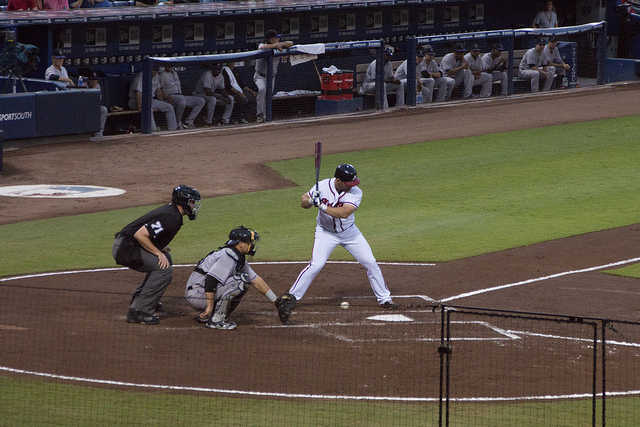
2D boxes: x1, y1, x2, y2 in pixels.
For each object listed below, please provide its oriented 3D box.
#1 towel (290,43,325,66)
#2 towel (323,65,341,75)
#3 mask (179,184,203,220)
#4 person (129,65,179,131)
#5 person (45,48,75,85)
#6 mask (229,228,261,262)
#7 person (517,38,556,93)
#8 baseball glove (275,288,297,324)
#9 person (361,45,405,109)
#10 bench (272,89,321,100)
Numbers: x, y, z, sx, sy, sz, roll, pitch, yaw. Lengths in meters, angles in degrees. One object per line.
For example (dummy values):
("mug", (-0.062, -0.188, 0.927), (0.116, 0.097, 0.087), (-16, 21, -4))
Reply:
("towel", (-0.348, -4.198, 29.498), (0.779, 0.172, 0.719), (-4, -8, -34))
("towel", (0.276, -3.877, 30.221), (0.336, 0.114, 0.329), (-2, 5, -44))
("mask", (-2.056, -0.163, 17.515), (0.308, 0.536, 0.284), (-2, 6, -4))
("person", (-4.182, -2.868, 27.945), (1.199, 1.585, 0.722), (-2, 7, -6))
("person", (-6.354, -3.535, 27.109), (0.640, 0.835, 0.939), (-3, 6, -13))
("mask", (-1.198, 0.447, 17.523), (0.444, 0.470, 0.469), (-2, 6, -3))
("person", (6.452, -4.427, 33.469), (0.971, 1.599, 0.801), (-7, 8, -40))
("baseball glove", (-0.556, 1.487, 17.433), (0.312, 0.464, 0.300), (-1, 6, 5))
("person", (1.803, -3.767, 31.029), (1.162, 1.707, 0.981), (-4, 7, -22))
("bench", (-0.731, -3.254, 30.498), (1.647, 0.286, 0.430), (-5, 7, -43))
